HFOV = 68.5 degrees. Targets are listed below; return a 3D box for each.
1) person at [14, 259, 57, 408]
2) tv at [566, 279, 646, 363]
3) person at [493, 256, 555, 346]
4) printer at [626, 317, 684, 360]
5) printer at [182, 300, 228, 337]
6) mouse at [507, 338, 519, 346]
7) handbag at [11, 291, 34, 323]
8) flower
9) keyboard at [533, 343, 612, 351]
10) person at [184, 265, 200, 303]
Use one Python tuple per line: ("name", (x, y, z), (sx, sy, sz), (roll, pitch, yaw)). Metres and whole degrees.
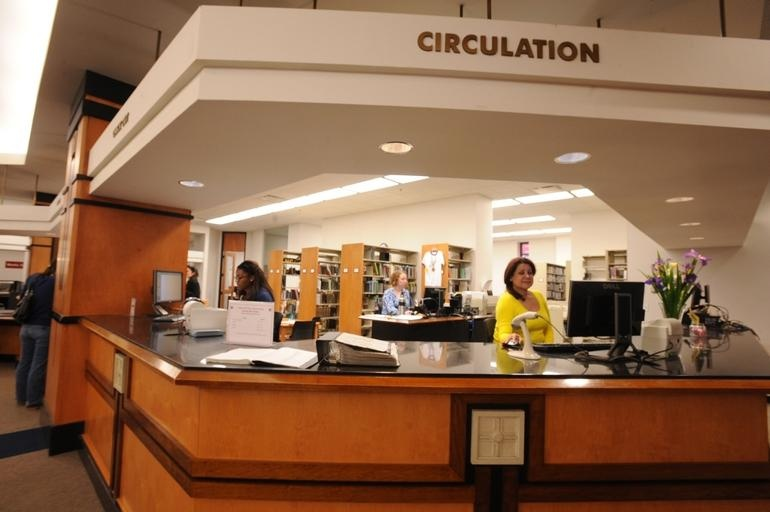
("person", (-4.505, 0.986, 7.230), (0.423, 1.850, 0.816), (8, -13, -30))
("tv", (2.054, 0.578, 5.066), (0.742, 0.676, 0.467), (1, -2, -12))
("person", (1.372, 0.464, 5.680), (0.516, 0.910, 0.889), (-8, -15, 39))
("printer", (2.836, 0.841, 5.767), (0.244, 0.373, 0.397), (4, -7, -17))
("printer", (-1.795, 0.627, 5.636), (0.361, 0.244, 0.360), (12, -9, -30))
("mouse", (1.180, 0.791, 5.224), (0.096, 0.071, 0.039), (-1, -12, 12))
("handbag", (-4.570, 0.638, 7.103), (0.255, 0.483, 0.192), (-9, 40, -46))
("flower", (3.447, 0.365, 6.355), (0.586, 0.733, 0.540), (5, 2, 42))
("keyboard", (1.733, 0.846, 5.202), (0.444, 0.045, 0.252), (2, -3, -20))
("person", (-3.372, 0.451, 9.924), (0.220, 0.601, 0.808), (6, -12, -19))
